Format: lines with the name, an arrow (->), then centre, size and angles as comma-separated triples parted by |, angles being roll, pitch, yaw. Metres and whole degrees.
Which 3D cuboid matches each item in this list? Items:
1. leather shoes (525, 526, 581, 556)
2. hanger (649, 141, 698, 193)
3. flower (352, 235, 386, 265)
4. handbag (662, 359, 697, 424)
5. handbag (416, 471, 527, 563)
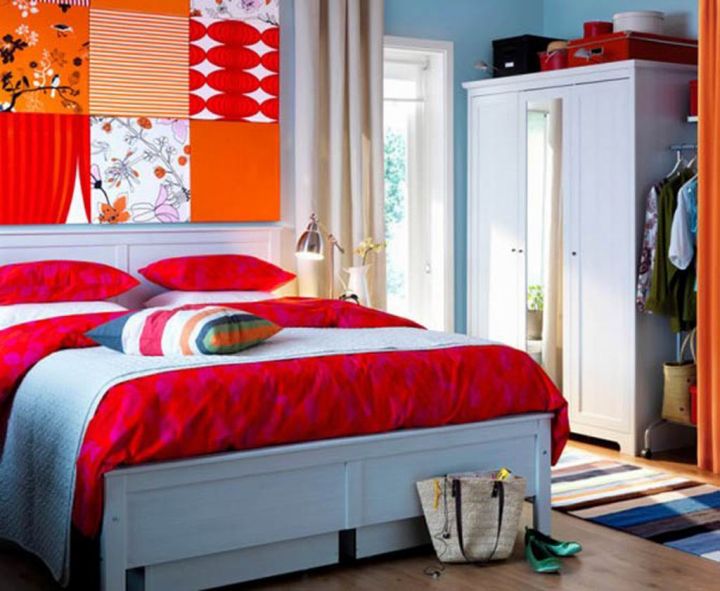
leather shoes -> 0.708, 0.892, 2.310 | 0.240, 0.105, 0.083 | -5, -3, 31
hanger -> 1.809, -0.741, 3.585 | 0.125, 0.365, 0.357 | 0, 0, 45
flower -> 0.056, -0.309, 4.081 | 0.184, 0.268, 0.194 | -3, 5, -45
handbag -> 1.807, 0.550, 3.500 | 0.166, 0.323, 0.124 | 2, 2, 34
handbag -> 0.388, 0.760, 2.166 | 0.392, 0.314, 0.300 | -1, -2, -8
